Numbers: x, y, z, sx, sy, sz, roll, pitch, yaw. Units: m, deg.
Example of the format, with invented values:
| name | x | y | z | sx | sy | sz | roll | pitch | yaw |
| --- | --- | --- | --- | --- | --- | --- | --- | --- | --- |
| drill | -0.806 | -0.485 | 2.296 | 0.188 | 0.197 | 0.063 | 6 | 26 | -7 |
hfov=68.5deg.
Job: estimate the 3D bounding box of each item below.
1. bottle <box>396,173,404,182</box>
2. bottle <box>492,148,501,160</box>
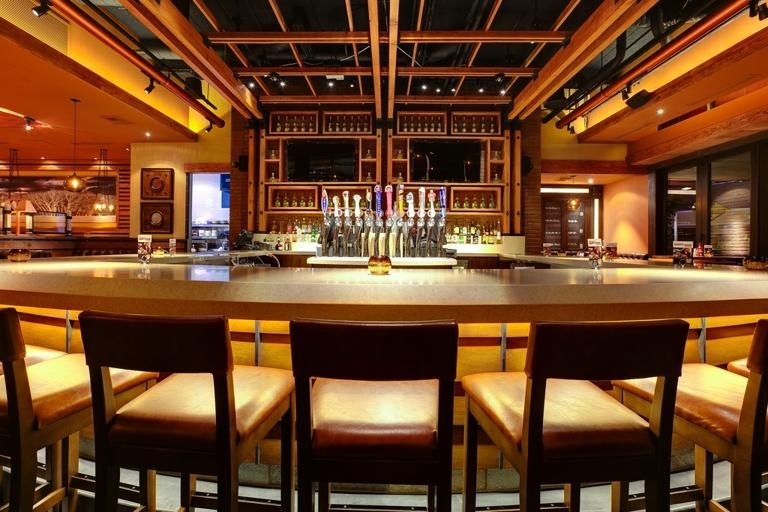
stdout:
| name | x | y | z | sx | sy | sz | roll | pitch | yaw |
| --- | --- | --- | --- | --- | --- | --- | --- | --- | --- |
| bottle | 0.233 | -1.197 | 8.541 | 0.114 | 0.154 | 0.271 | 1 | 2 | 0 |
| bottle | 1.736 | -1.577 | 8.774 | 0.202 | 0.174 | 0.139 | 1 | 2 | 10 |
